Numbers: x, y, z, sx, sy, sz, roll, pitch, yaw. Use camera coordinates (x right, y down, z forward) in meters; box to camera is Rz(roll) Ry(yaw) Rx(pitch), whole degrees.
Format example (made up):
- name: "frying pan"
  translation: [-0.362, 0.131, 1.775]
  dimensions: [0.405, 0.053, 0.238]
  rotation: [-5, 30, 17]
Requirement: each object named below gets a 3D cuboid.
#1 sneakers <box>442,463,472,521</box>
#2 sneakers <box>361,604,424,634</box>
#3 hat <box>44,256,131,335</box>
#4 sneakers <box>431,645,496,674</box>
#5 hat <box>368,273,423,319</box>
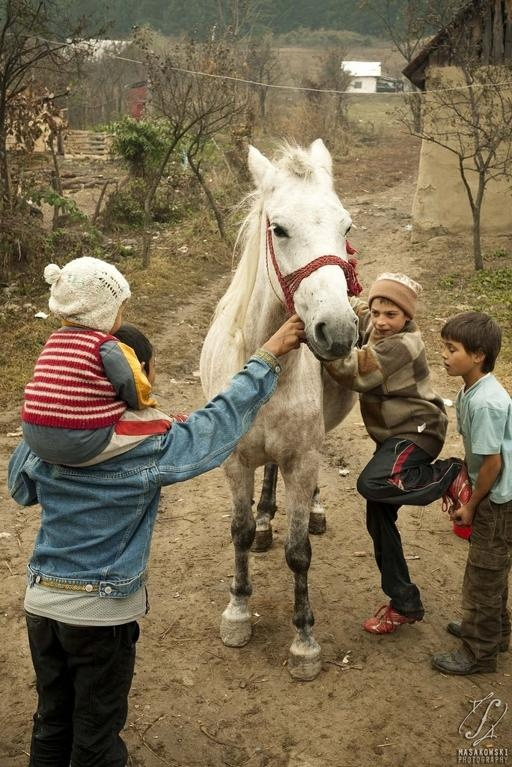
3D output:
- name: "sneakers"
  translation: [0.939, 0.500, 3.870]
  dimensions: [0.090, 0.105, 0.252]
  rotation: [-29, 14, 29]
- name: "sneakers"
  translation: [0.698, 1.169, 4.088]
  dimensions: [0.329, 0.116, 0.133]
  rotation: [-7, -28, 23]
- name: "hat"
  translation: [-0.531, -0.281, 2.759]
  dimensions: [0.298, 0.214, 0.204]
  rotation: [2, 41, -28]
- name: "sneakers"
  translation: [0.932, 1.276, 3.759]
  dimensions: [0.297, 0.120, 0.117]
  rotation: [3, 5, 5]
- name: "hat"
  translation: [0.644, -0.409, 3.784]
  dimensions: [0.188, 0.165, 0.239]
  rotation: [27, -8, 11]
